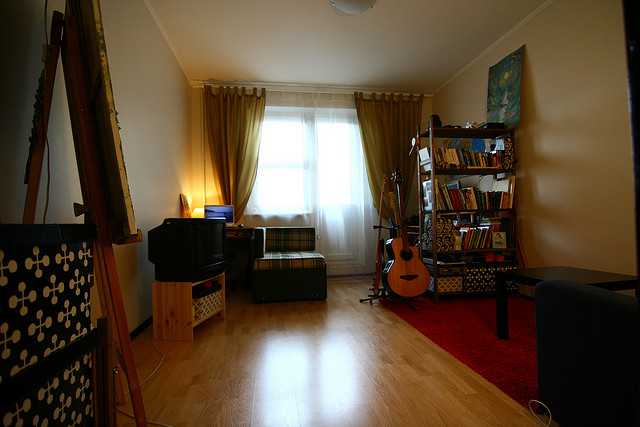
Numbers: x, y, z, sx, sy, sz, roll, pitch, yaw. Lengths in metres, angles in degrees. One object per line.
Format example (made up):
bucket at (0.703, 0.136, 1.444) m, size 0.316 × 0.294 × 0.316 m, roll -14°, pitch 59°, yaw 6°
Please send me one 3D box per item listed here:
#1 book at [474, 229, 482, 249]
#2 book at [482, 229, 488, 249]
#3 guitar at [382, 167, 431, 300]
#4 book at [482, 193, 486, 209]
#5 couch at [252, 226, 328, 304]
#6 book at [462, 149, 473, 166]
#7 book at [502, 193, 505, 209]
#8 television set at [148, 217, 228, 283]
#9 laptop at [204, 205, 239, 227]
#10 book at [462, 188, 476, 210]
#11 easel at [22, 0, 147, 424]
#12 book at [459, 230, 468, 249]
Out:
book at (1.727, 0.278, 5.017) m, size 0.030 × 0.145 × 0.129 m, roll 8°, pitch 0°, yaw 25°
book at (1.807, 0.278, 5.007) m, size 0.053 × 0.193 × 0.013 m, roll -2°, pitch 9°, yaw -7°
guitar at (0.882, 0.265, 4.756) m, size 0.491 × 1.442 × 0.421 m, roll -1°, pitch 9°, yaw 0°
book at (1.795, -0.137, 5.004) m, size 0.039 × 0.149 × 0.022 m, roll 4°, pitch 10°, yaw 26°
couch at (-0.379, 0.595, 5.407) m, size 1.017 × 0.904 × 1.107 m, roll -3°, pitch -2°, yaw 23°
book at (1.615, -0.620, 5.017) m, size 0.030 × 0.152 × 0.143 m, roll -11°, pitch 11°, yaw 13°
book at (1.987, -0.139, 4.954) m, size 0.017 × 0.140 × 0.037 m, roll 3°, pitch 10°, yaw 23°
television set at (-1.207, 0.325, 4.250) m, size 0.474 × 0.584 × 0.634 m, roll 0°, pitch 1°, yaw 21°
laptop at (-1.214, -0.005, 5.586) m, size 0.336 × 0.264 × 0.256 m, roll 0°, pitch -5°, yaw -23°
book at (1.656, -0.162, 5.030) m, size 0.038 × 0.191 × 0.180 m, roll -9°, pitch 14°, yaw 8°
easel at (-1.442, 0.009, 2.854) m, size 0.702 × 2.659 × 0.369 m, roll 2°, pitch 10°, yaw 20°
book at (1.583, 0.296, 5.032) m, size 0.054 × 0.184 × 0.181 m, roll 1°, pitch -4°, yaw 5°
